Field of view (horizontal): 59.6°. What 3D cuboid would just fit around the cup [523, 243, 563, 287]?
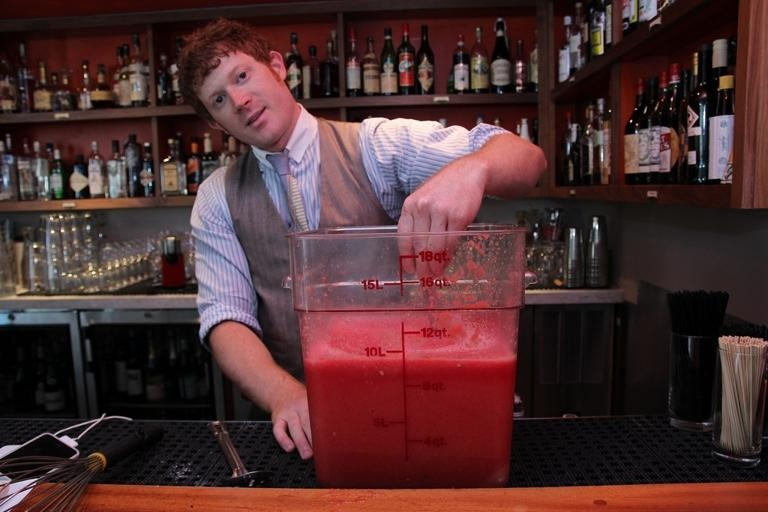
[{"bbox_3d":[0.723,0.040,3.006,0.209,0.199,0.117,1,5,28],"label":"cup"}]

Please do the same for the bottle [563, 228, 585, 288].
[{"bbox_3d":[0.920,0.007,3.244,0.095,0.284,0.079,3,15,14],"label":"bottle"}]

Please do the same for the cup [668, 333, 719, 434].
[{"bbox_3d":[0.802,0.327,1.747,0.113,0.218,0.129,5,16,23],"label":"cup"}]

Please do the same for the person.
[{"bbox_3d":[-0.162,-0.153,2.125,1.178,1.170,0.641,11,18,37],"label":"person"}]

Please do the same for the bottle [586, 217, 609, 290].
[{"bbox_3d":[1.024,-0.019,3.220,0.104,0.344,0.060,5,16,22],"label":"bottle"}]

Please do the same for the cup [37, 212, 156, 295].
[{"bbox_3d":[-1.543,0.020,3.588,0.503,0.310,0.504,1,2,0],"label":"cup"}]

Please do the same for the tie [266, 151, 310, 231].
[{"bbox_3d":[-0.307,-0.210,2.212,0.095,0.324,0.085,-12,-4,19],"label":"tie"}]
